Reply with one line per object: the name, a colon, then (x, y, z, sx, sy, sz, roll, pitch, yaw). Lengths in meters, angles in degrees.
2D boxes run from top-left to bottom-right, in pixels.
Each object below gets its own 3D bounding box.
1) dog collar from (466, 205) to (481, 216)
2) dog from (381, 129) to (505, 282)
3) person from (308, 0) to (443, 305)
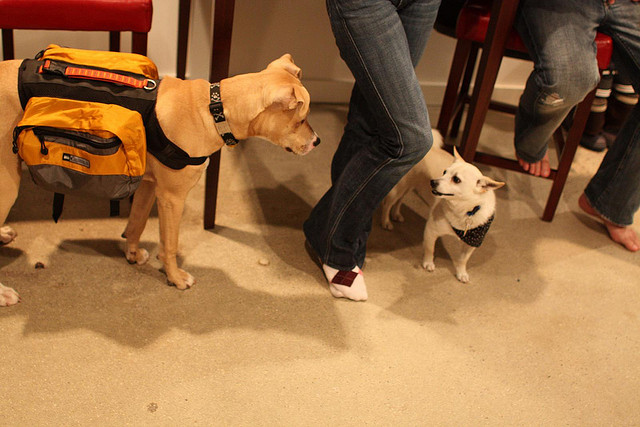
dog collar: (0.774, -0.017, 2.696, 0.059, 0.042, 0.021, -30, 60, 9)
dog: (0.632, -0.081, 2.960, 0.457, 0.628, 0.692, -2, 34, -12)
person: (0.267, -0.276, 2.554, 0.594, 1.346, 0.632, 4, 34, -2)
